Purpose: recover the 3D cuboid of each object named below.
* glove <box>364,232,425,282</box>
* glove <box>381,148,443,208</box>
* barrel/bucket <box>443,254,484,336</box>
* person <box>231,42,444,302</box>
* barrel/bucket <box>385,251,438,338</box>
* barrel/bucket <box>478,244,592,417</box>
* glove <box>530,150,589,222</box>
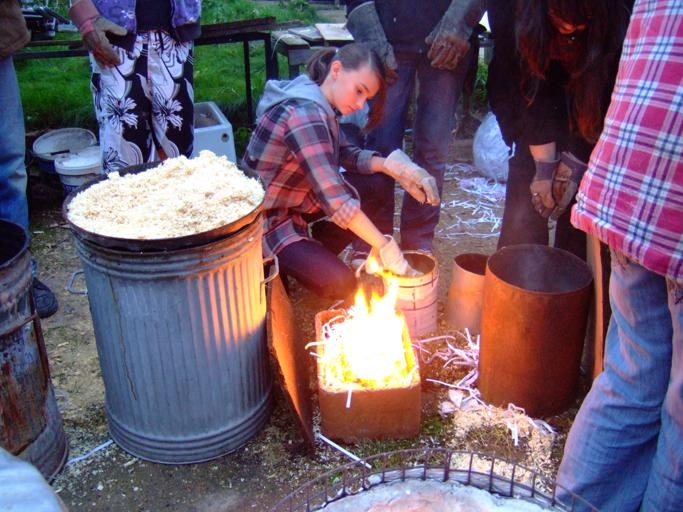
[{"bbox_3d":[0.305,0.044,3.342,0.283,0.273,0.180,30,37,2],"label":"glove"},{"bbox_3d":[0.415,-0.468,3.409,0.294,0.367,0.275,-12,28,-42],"label":"glove"},{"bbox_3d":[0.774,0.260,3.643,0.292,0.540,0.318,-3,28,2],"label":"barrel/bucket"},{"bbox_3d":[-0.067,-0.423,3.483,0.998,1.501,0.929,-6,30,-9],"label":"person"},{"bbox_3d":[0.443,0.233,3.660,0.314,0.523,0.451,-3,24,-10],"label":"barrel/bucket"},{"bbox_3d":[0.996,0.404,3.001,0.549,0.968,0.563,-2,29,1],"label":"barrel/bucket"},{"bbox_3d":[1.231,-0.431,3.339,0.203,0.438,0.243,-15,28,-29],"label":"glove"}]
